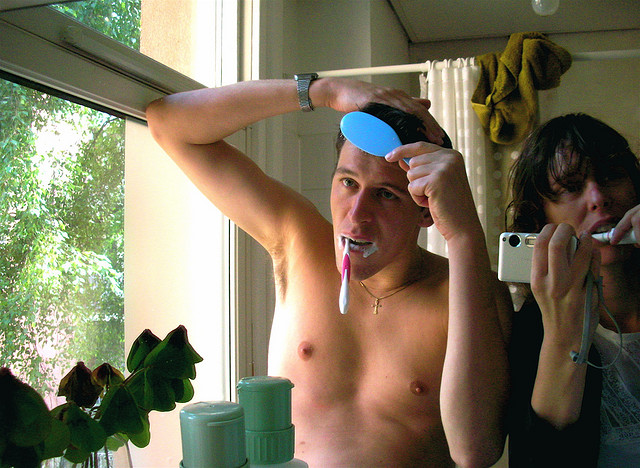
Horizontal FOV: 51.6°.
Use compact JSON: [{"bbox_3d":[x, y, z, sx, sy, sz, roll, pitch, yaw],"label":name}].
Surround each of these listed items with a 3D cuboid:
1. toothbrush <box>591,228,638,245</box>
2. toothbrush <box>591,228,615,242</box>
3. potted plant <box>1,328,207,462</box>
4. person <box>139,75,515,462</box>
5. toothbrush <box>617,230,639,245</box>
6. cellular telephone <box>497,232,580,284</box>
[{"bbox_3d":[0.606,0.006,1.367,0.070,0.035,0.078,-4,-4,-4],"label":"toothbrush"},{"bbox_3d":[0.587,0.004,1.377,0.020,0.023,0.056,-1,-5,-33],"label":"toothbrush"},{"bbox_3d":[-0.370,0.292,1.123,0.226,0.160,0.267,-5,-16,11],"label":"potted plant"},{"bbox_3d":[0.064,0.050,1.659,0.786,0.960,0.893,-5,-4,16],"label":"person"},{"bbox_3d":[0.625,0.010,1.348,0.029,0.030,0.009,13,26,35],"label":"toothbrush"},{"bbox_3d":[0.436,0.048,1.311,0.130,0.093,0.031,3,4,13],"label":"cellular telephone"}]
